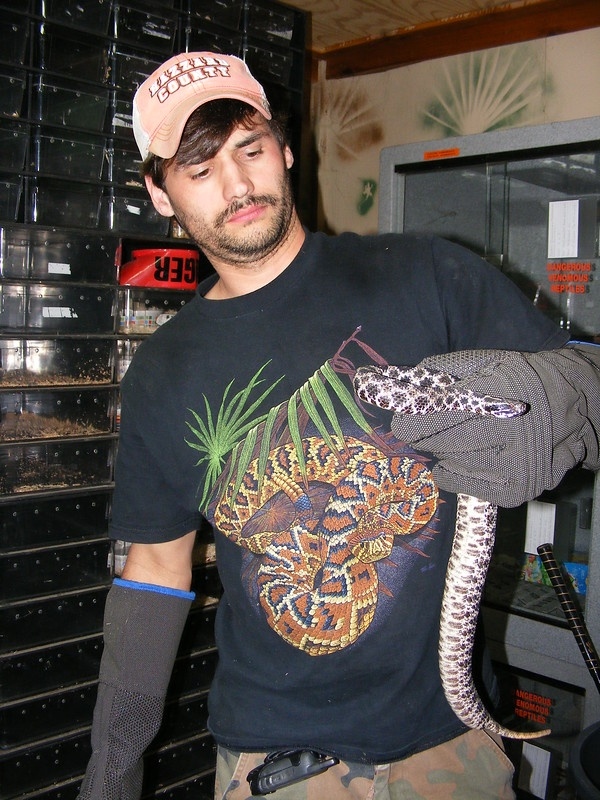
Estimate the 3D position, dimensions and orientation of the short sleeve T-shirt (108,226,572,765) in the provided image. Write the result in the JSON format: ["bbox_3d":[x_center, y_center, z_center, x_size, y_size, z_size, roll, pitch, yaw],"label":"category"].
[{"bbox_3d":[0.056,0.097,1.164,0.711,0.909,0.193,-6,-12,33],"label":"short sleeve T-shirt"}]

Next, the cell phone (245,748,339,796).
[{"bbox_3d":[-0.014,0.594,1.092,0.119,0.045,0.094,-27,-20,28],"label":"cell phone"}]

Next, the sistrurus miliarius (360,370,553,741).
[{"bbox_3d":[0.204,0.234,0.979,0.247,0.604,0.090,5,24,21],"label":"sistrurus miliarius"}]

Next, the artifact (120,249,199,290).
[{"bbox_3d":[-0.435,-0.419,2.240,0.294,0.139,0.165,0,9,-26],"label":"artifact"}]

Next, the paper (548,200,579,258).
[{"bbox_3d":[0.874,-0.567,2.257,0.110,0.182,0.016,-4,18,5],"label":"paper"}]
